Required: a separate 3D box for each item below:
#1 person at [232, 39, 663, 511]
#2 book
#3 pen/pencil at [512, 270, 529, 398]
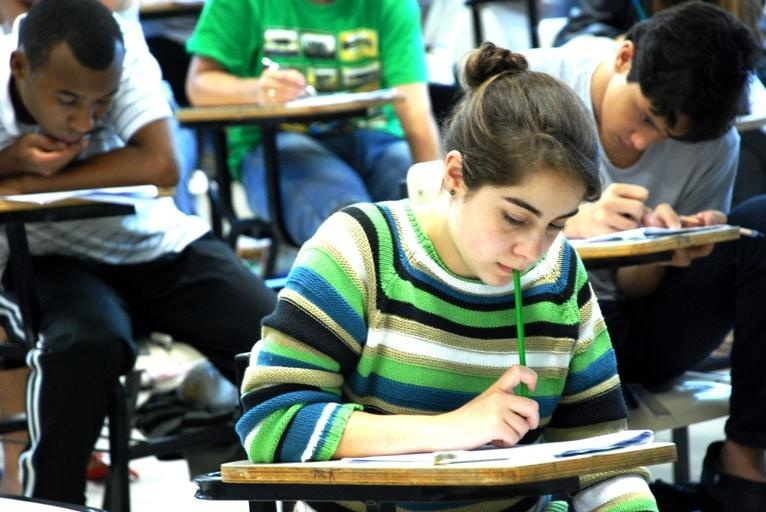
[{"bbox_3d":[0.125,0.090,1.984,0.886,1.047,0.424,-4,15,-15],"label":"person"},{"bbox_3d":[0.231,0.388,1.845,0.607,0.065,0.200,1,14,7],"label":"book"},{"bbox_3d":[0.303,0.154,2.070,0.025,0.342,0.026,-2,0,-11],"label":"pen/pencil"}]
